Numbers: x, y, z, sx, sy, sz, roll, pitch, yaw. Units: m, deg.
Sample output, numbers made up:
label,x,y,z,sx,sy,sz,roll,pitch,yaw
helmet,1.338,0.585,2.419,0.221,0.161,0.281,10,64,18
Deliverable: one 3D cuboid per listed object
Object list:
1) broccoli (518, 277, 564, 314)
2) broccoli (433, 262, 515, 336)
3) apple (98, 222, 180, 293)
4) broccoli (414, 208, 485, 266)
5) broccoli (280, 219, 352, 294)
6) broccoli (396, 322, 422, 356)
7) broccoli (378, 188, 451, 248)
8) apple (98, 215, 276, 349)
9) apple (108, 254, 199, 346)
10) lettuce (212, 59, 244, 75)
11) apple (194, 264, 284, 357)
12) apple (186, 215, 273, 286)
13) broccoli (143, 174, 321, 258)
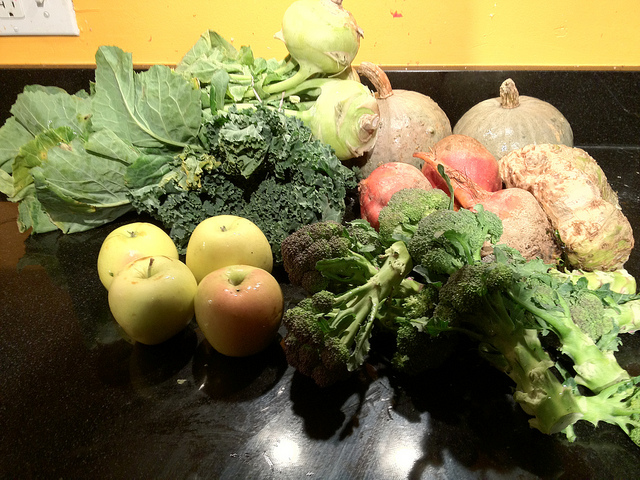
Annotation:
label,x,y,z,sx,sy,sz,roll,pitch,yaw
broccoli,0.444,0.117,1.024,0.077,0.021,0.072,37,18,7
broccoli,0.310,0.113,0.983,0.154,0.136,0.089,9,46,1
apple,-0.460,0.019,1.279,0.165,0.164,0.165,-16,23,-24
broccoli,0.277,-0.020,1.067,0.146,0.076,0.126,25,49,15
broccoli,-0.014,0.056,1.145,0.153,0.163,0.146,4,81,-10
broccoli,0.172,0.198,0.990,0.049,0.031,0.061,-9,75,15
broccoli,0.202,-0.062,1.181,0.159,0.085,0.123,-37,16,1
apple,-0.341,0.151,1.190,0.321,0.169,0.321,11,41,6
apple,-0.385,0.123,1.133,0.176,0.188,0.178,7,30,-8
lettuce,-0.291,-0.547,1.574,0.093,0.026,0.039,3,47,-6
apple,-0.170,0.142,1.137,0.175,0.176,0.182,3,20,7
apple,-0.218,0.011,1.181,0.165,0.170,0.166,-12,16,-12
broccoli,-0.204,-0.093,1.271,0.348,0.126,0.253,1,46,2
